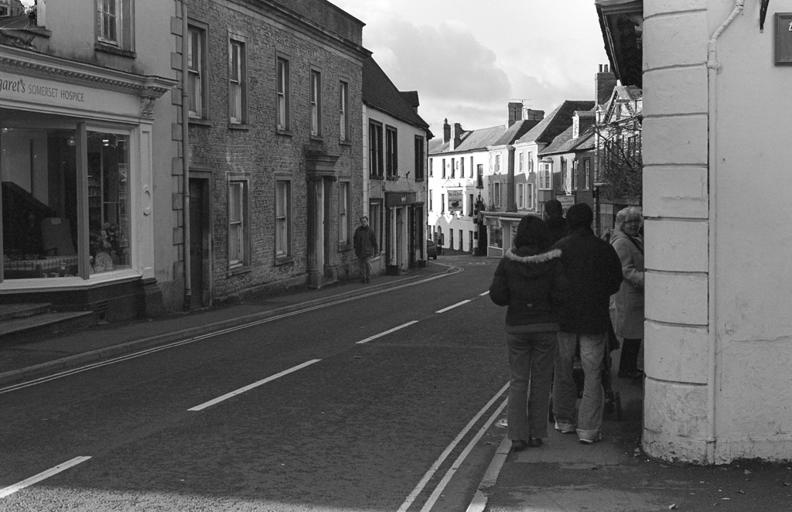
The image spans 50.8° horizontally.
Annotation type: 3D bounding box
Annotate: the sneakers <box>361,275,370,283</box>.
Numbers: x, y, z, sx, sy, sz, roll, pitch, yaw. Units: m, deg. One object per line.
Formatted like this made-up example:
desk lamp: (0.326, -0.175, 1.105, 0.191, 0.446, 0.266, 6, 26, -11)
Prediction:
sneakers: (-1.038, 0.724, 28.196, 0.230, 0.267, 0.416, -12, -7, -7)

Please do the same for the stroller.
stroller: (2.453, 1.435, 11.551, 0.411, 1.759, 0.494, -6, 13, 23)

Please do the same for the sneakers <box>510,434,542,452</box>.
sneakers: (1.593, 2.258, 10.171, 0.411, 0.182, 0.141, -6, 7, -29)
